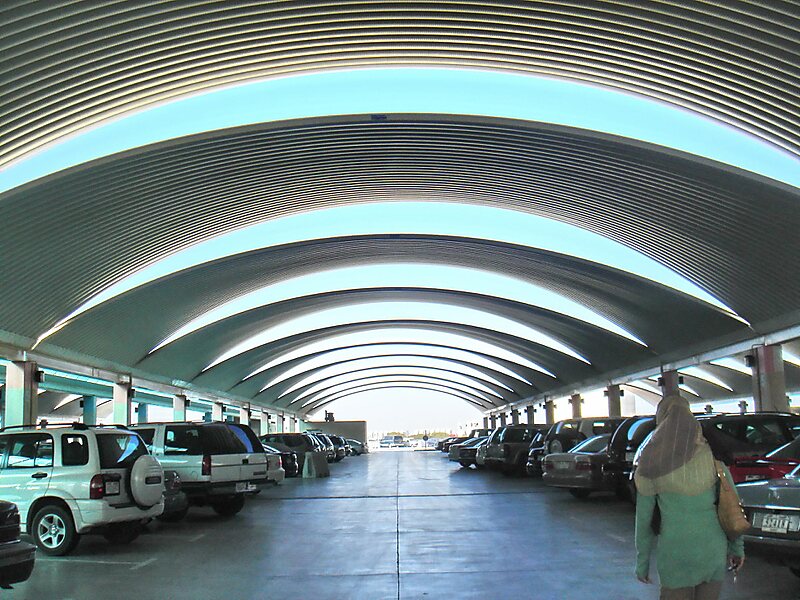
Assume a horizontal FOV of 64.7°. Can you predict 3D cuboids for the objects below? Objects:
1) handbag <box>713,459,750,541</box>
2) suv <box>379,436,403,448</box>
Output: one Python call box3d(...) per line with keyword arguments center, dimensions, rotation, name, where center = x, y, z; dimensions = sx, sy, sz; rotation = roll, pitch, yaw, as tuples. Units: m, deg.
box3d(center=(2.785, 1.726, 5.342), dimensions=(0.209, 0.668, 0.276), rotation=(-11, -19, 26), name="handbag")
box3d(center=(-1.503, 26.081, 113.696), dimensions=(2.918, 1.935, 4.816), rotation=(6, -15, -28), name="suv")
